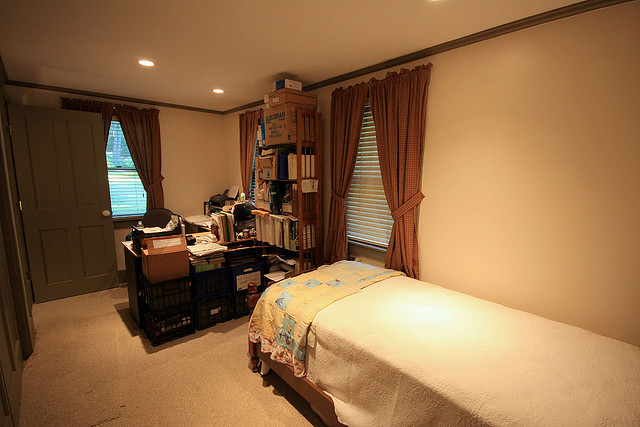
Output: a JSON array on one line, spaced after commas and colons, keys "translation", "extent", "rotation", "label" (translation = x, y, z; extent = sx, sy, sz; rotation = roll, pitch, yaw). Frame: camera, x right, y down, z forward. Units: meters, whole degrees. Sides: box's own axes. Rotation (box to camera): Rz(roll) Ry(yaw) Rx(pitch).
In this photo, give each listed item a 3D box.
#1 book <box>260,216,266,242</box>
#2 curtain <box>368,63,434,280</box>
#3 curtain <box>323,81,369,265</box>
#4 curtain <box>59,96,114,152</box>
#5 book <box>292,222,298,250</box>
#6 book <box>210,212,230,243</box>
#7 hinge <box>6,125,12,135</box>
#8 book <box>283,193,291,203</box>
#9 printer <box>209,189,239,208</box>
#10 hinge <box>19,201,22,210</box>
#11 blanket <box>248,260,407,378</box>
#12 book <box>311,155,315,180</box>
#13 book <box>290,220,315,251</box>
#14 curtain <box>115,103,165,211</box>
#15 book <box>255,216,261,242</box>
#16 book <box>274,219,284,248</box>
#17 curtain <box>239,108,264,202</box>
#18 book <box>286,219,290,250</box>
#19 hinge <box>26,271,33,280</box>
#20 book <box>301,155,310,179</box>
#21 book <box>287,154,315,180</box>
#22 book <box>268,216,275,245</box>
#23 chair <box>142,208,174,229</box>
[{"translation": [-0.730, 0.193, 5.649], "extent": [0.026, 0.306, 0.105], "rotation": [-11, 10, -40], "label": "book"}, {"translation": [0.933, -0.435, 4.928], "extent": [0.744, 2.307, 0.294], "rotation": [-2, 8, 19], "label": "curtain"}, {"translation": [0.297, -0.457, 5.418], "extent": [0.722, 2.189, 0.306], "rotation": [-3, 8, 12], "label": "curtain"}, {"translation": [-3.174, -1.216, 5.923], "extent": [0.174, 0.889, 0.777], "rotation": [4, 5, 38], "label": "curtain"}, {"translation": [-0.306, 0.261, 5.394], "extent": [0.076, 0.319, 0.052], "rotation": [-5, 8, -5], "label": "book"}, {"translation": [-1.267, 0.169, 5.539], "extent": [0.119, 0.377, 0.272], "rotation": [-3, 11, -15], "label": "book"}, {"translation": [-3.821, -1.033, 5.414], "extent": [0.022, 0.083, 0.063], "rotation": [-4, 2, 12], "label": "hinge"}, {"translation": [-0.425, -0.192, 5.555], "extent": [0.105, 0.104, 0.095], "rotation": [3, 6, -36], "label": "book"}, {"translation": [-1.567, -0.250, 7.171], "extent": [0.291, 0.224, 0.289], "rotation": [5, 4, 42], "label": "printer"}, {"translation": [-3.777, -0.102, 5.558], "extent": [0.029, 0.097, 0.010], "rotation": [-12, 10, -44], "label": "hinge"}, {"translation": [0.024, 0.965, 4.638], "extent": [1.228, 0.367, 0.986], "rotation": [-9, 12, -42], "label": "blanket"}, {"translation": [-0.089, -0.585, 5.452], "extent": [0.029, 0.277, 0.077], "rotation": [-1, 8, 25], "label": "book"}, {"translation": [-0.267, 0.289, 5.629], "extent": [0.302, 0.422, 0.421], "rotation": [-2, 5, -20], "label": "book"}, {"translation": [-2.604, -0.985, 6.518], "extent": [0.570, 1.353, 0.178], "rotation": [-7, -27, -15], "label": "curtain"}, {"translation": [-0.805, 0.190, 5.713], "extent": [0.037, 0.320, 0.119], "rotation": [-11, 10, -40], "label": "book"}, {"translation": [-0.506, 0.242, 5.475], "extent": [0.156, 0.350, 0.030], "rotation": [2, 10, 40], "label": "book"}, {"translation": [-1.072, -0.895, 6.790], "extent": [0.223, 1.391, 0.690], "rotation": [-9, 9, -30], "label": "curtain"}, {"translation": [-0.396, 0.249, 5.402], "extent": [0.046, 0.367, 0.014], "rotation": [-1, 8, 26], "label": "book"}, {"translation": [-3.723, 0.792, 5.639], "extent": [0.017, 0.079, 0.045], "rotation": [-19, -11, 21], "label": "hinge"}, {"translation": [-0.177, -0.572, 5.367], "extent": [0.040, 0.285, 0.149], "rotation": [0, 9, 30], "label": "book"}, {"translation": [-0.239, -0.586, 5.441], "extent": [0.271, 0.387, 0.375], "rotation": [-4, 8, -26], "label": "book"}, {"translation": [-0.611, 0.209, 5.549], "extent": [0.033, 0.344, 0.111], "rotation": [-11, 10, -41], "label": "book"}, {"translation": [-2.365, 0.035, 6.402], "extent": [0.303, 0.361, 0.293], "rotation": [-1, 7, -29], "label": "chair"}]
